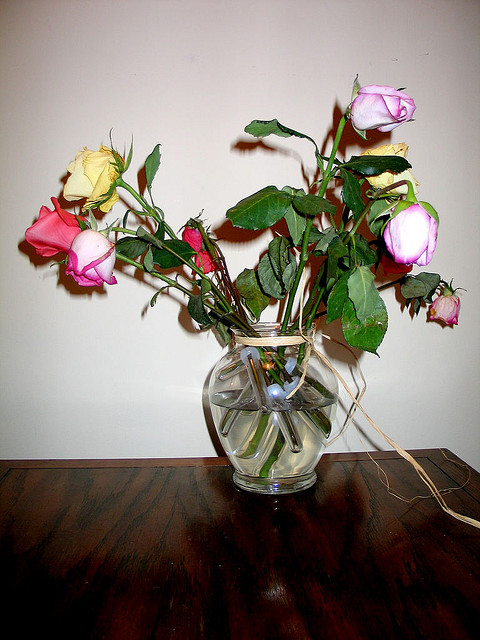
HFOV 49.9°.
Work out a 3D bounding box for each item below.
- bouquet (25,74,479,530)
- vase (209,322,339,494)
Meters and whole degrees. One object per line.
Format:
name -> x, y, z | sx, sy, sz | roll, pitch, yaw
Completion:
bouquet -> -0.010, -0.050, 0.736 | 0.491, 0.448, 0.498 | -14, 24, -28
vase -> 0.045, 0.110, 0.694 | 0.182, 0.212, 0.181 | 4, 9, 34
